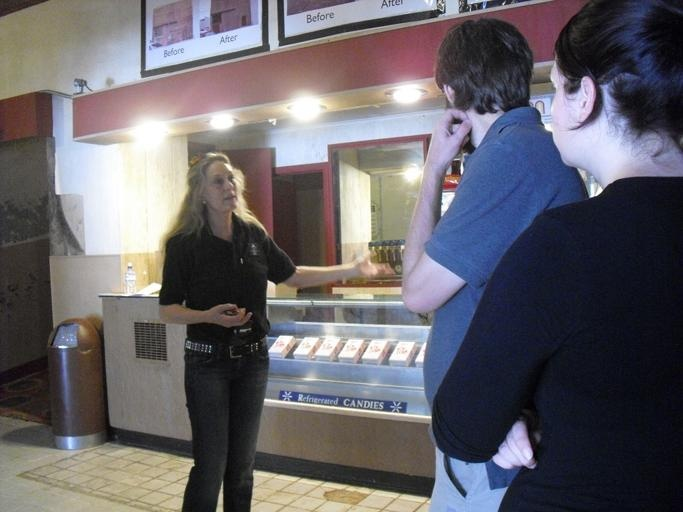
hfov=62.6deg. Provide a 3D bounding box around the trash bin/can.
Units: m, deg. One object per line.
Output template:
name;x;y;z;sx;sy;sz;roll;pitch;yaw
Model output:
trash bin/can;-1.865;0.890;3.936;0.343;0.939;0.189;-3;1;-15

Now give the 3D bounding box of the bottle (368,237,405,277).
bottle;0.339;0.012;4.157;0.321;0.321;0.176;-2;-3;28

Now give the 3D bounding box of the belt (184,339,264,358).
belt;-0.472;0.380;2.325;0.331;0.066;0.120;-3;1;-17
